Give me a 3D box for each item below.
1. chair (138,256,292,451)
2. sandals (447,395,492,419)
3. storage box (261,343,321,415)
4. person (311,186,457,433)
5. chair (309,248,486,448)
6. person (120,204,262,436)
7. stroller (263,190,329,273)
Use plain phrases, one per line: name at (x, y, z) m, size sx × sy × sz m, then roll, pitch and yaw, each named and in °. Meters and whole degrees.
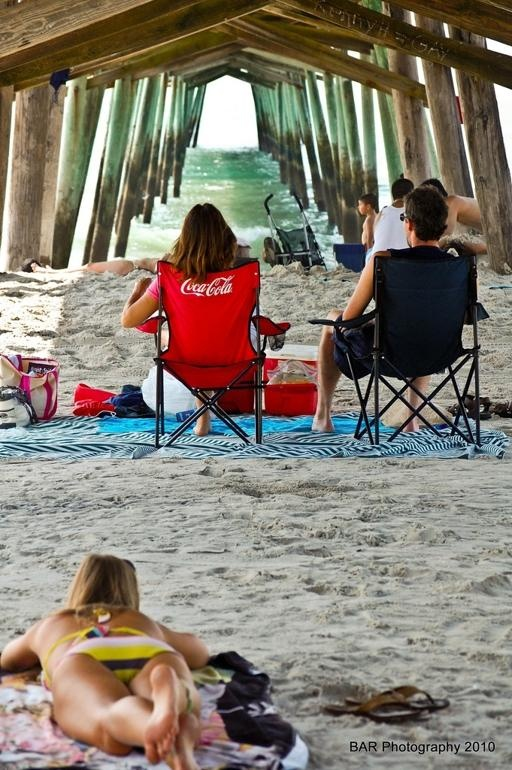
chair at (-0.208, -0.166, 3.973) m, size 0.718 × 0.945 × 0.597 m, roll 0°, pitch 9°, yaw -1°
sandals at (1.299, 0.124, 4.676) m, size 0.133 × 0.155 × 0.407 m, roll -1°, pitch 2°, yaw -7°
storage box at (0.225, -0.031, 4.966) m, size 0.303 × 0.296 × 0.440 m, roll 0°, pitch 12°, yaw 2°
person at (0.682, -0.320, 4.172) m, size 0.609 × 1.374 × 0.847 m, roll 2°, pitch 11°, yaw -13°
chair at (0.684, -0.205, 4.018) m, size 0.801 × 0.978 × 0.705 m, roll -1°, pitch 9°, yaw -4°
person at (-0.361, -0.471, 3.826) m, size 0.474 × 0.761 × 0.490 m, roll -1°, pitch 17°, yaw -17°
stroller at (0.696, -2.510, 13.096) m, size 0.890 × 1.230 × 1.149 m, roll -2°, pitch 7°, yaw 14°
